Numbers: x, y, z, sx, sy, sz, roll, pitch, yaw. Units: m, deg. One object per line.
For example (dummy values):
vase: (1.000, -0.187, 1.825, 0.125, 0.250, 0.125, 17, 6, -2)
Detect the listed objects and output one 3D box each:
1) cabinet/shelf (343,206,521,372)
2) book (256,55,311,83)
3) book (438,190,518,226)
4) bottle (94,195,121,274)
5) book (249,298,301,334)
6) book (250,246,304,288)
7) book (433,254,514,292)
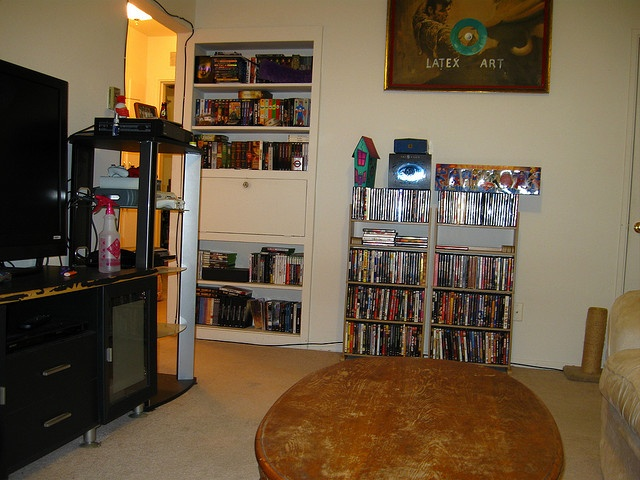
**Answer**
cabinet/shelf: (0.838, 0.391, 3.990, 1.211, 1.055, 0.287, 2, -2, 6)
book: (-0.292, -1.428, 4.495, 0.342, 0.111, 0.257, 2, 9, 1)
book: (1.190, -0.231, 4.041, 0.571, 0.245, 0.086, 3, 13, 13)
bottle: (-1.183, -0.032, 2.960, 0.122, 0.398, 0.283, -6, 14, -21)
book: (-0.380, 0.666, 4.743, 0.452, 0.264, 0.434, 1, -1, 5)
book: (-0.375, 0.231, 4.527, 0.467, 0.291, 0.186, -1, 13, -2)
book: (1.157, 0.251, 4.038, 0.577, 0.257, 0.081, 2, 13, 10)
